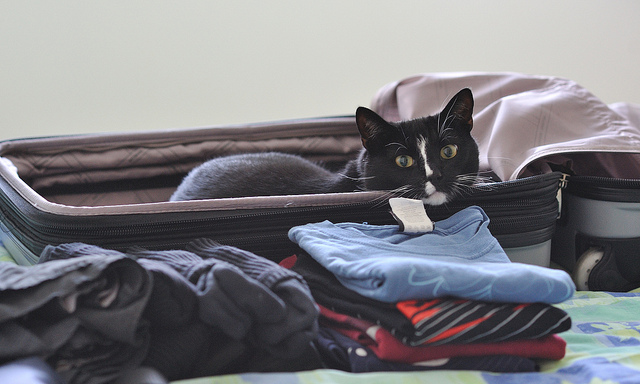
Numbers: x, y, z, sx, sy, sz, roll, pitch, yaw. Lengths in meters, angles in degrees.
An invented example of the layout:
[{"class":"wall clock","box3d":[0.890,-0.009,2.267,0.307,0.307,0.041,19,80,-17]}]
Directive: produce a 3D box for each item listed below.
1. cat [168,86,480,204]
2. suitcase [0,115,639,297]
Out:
[{"class":"cat","box3d":[0.028,-0.144,1.891,0.896,0.300,0.252,2,26,14]},{"class":"suitcase","box3d":[0.024,0.018,1.892,1.438,0.304,0.872,-1,4,-17]}]
